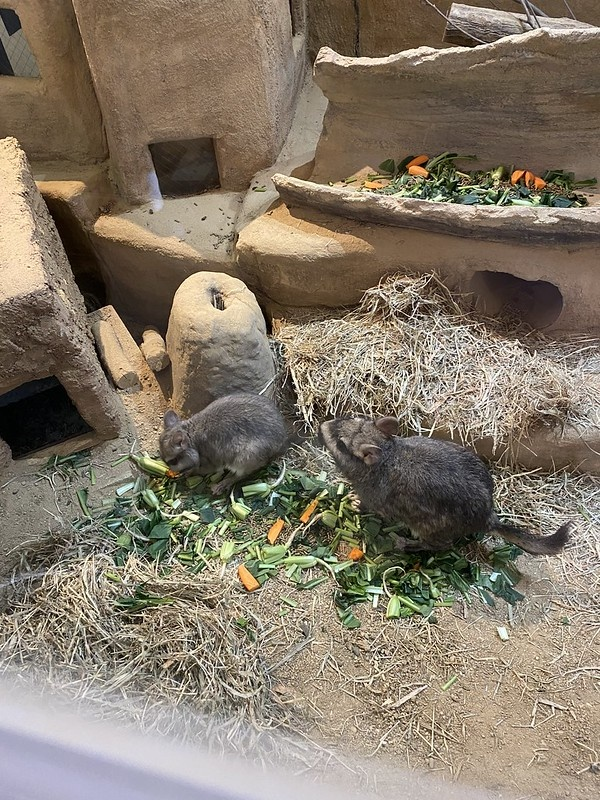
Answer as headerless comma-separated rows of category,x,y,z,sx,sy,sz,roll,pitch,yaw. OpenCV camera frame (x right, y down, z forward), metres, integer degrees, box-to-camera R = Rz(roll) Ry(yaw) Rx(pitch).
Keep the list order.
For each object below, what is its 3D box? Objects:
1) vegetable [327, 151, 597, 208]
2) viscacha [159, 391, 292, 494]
vegetable,0.949,-1.287,3.811,1.412,0.166,0.717,19,42,33
viscacha,-0.416,0.196,3.647,0.868,0.486,0.376,-3,57,-14
